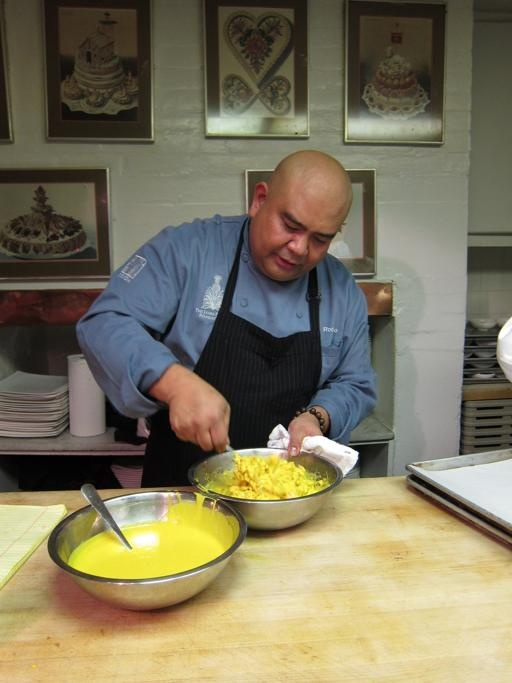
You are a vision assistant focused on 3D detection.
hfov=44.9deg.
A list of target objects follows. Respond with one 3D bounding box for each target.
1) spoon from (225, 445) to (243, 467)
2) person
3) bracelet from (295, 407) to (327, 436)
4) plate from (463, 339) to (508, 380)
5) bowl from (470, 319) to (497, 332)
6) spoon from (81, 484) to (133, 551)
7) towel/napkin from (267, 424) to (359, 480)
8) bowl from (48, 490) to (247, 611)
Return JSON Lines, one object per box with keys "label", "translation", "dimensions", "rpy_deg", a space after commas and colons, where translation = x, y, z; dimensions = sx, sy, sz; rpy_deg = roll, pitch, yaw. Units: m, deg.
{"label": "spoon", "translation": [-0.048, 0.260, 1.396], "dimensions": [0.046, 0.020, 0.046], "rpy_deg": [19, 40, -25]}
{"label": "person", "translation": [-0.061, -0.096, 1.753], "dimensions": [0.669, 0.854, 0.937], "rpy_deg": [7, 15, 26]}
{"label": "bracelet", "translation": [0.157, 0.220, 1.718], "dimensions": [0.028, 0.068, 0.087], "rpy_deg": [-45, 8, 12]}
{"label": "plate", "translation": [1.164, 0.096, 3.145], "dimensions": [0.202, 0.202, 0.166], "rpy_deg": [4, 15, 18]}
{"label": "bowl", "translation": [1.318, -0.102, 3.592], "dimensions": [0.158, 0.070, 0.211], "rpy_deg": [4, 13, 18]}
{"label": "spoon", "translation": [-0.278, 0.333, 1.152], "dimensions": [0.133, 0.014, 0.020], "rpy_deg": [43, 55, 15]}
{"label": "towel/napkin", "translation": [0.136, 0.267, 1.514], "dimensions": [0.212, 0.065, 0.121], "rpy_deg": [10, 23, 36]}
{"label": "bowl", "translation": [-0.176, 0.364, 1.055], "dimensions": [0.326, 0.091, 0.315], "rpy_deg": [-1, 12, 0]}
